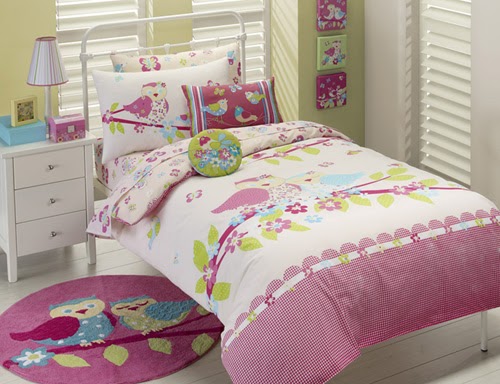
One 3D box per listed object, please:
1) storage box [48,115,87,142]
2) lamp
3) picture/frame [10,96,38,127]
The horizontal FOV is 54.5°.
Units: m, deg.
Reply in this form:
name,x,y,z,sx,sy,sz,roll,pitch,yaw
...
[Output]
name,x,y,z,sx,sy,sz,roll,pitch,yaw
storage box,-0.989,-0.348,2.650,0.228,0.136,0.158,-12,21,-35
lamp,-1.105,-0.585,2.709,0.195,0.542,0.226,-6,18,9
picture/frame,-1.226,-0.432,2.640,0.210,0.165,0.033,-13,23,-41
